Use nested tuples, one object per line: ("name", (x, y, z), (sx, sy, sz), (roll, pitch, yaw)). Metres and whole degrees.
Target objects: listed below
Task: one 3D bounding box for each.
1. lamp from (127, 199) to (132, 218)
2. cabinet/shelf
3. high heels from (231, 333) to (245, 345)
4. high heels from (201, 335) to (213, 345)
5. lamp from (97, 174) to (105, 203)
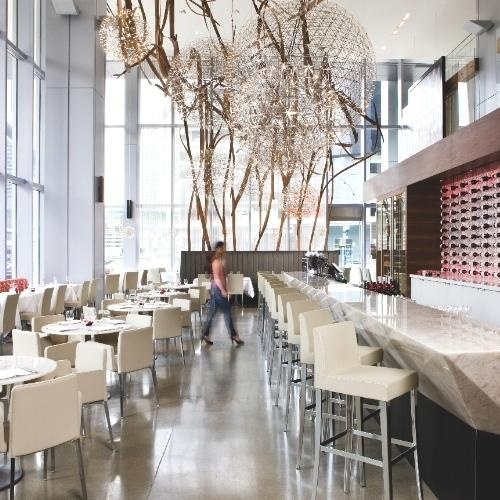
("lamp", (-3.940, -1.312, 16.074), (0.197, 0.589, 0.334), (-1, 2, -11))
("cabinet/shelf", (3.519, -0.224, 10.785), (0.567, 2.918, 2.246), (0, 1, -3))
("high heels", (-0.207, 1.489, 8.140), (0.231, 0.248, 0.104), (-2, 2, 4))
("high heels", (-0.725, 1.499, 8.099), (0.249, 0.180, 0.094), (7, -5, -7))
("lamp", (-3.326, -1.333, 10.918), (0.098, 0.610, 0.554), (-1, 2, -9))
